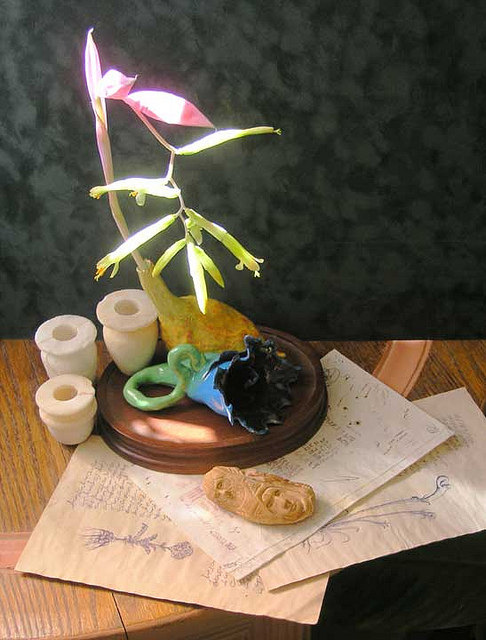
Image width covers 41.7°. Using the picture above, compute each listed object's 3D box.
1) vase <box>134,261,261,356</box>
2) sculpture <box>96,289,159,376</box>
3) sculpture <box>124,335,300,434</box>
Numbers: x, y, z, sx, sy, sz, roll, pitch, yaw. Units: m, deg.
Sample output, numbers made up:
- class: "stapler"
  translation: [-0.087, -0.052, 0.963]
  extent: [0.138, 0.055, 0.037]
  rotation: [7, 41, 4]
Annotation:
- class: "vase"
  translation: [-0.058, -0.020, 0.875]
  extent: [0.174, 0.123, 0.082]
  rotation: [1, 34, -8]
- class: "sculpture"
  translation: [-0.158, 0.017, 0.883]
  extent: [0.088, 0.090, 0.087]
  rotation: [-20, 47, -20]
- class: "sculpture"
  translation: [-0.050, 0.081, 0.828]
  extent: [0.230, 0.074, 0.135]
  rotation: [7, 33, 9]
